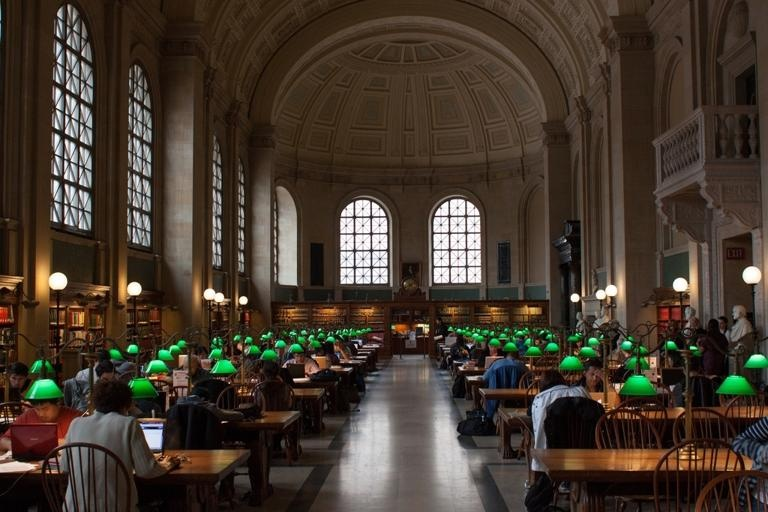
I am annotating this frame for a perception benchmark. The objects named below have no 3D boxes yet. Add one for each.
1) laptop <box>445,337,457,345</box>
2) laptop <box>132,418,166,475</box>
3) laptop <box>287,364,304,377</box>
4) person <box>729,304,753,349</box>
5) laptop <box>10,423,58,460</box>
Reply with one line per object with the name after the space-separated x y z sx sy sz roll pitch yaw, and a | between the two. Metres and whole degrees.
2.406 3.082 25.169 0.340 0.354 0.497 1 -3 -24 | laptop
-2.310 1.908 6.893 0.420 0.498 0.552 1 -5 -8 | laptop
-1.826 2.342 14.171 0.308 0.318 0.251 1 -2 -2 | laptop
6.621 1.322 12.860 0.354 0.820 0.752 -2 -3 15 | person
-3.524 1.858 6.990 0.482 0.356 0.359 1 0 3 | laptop
